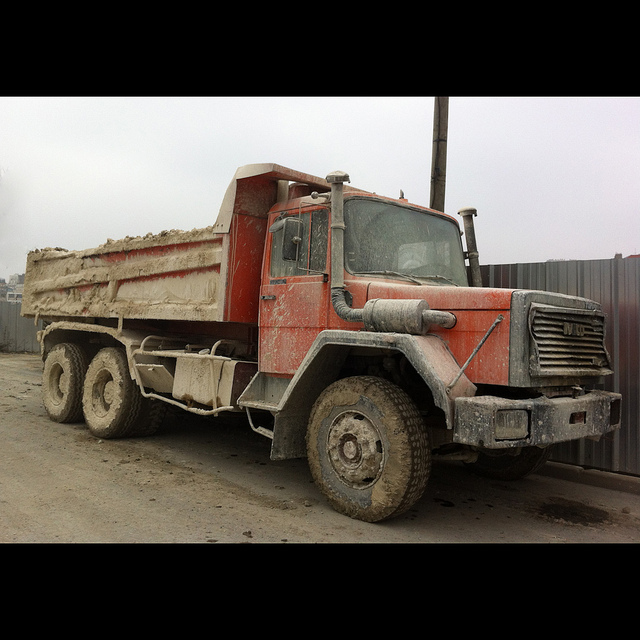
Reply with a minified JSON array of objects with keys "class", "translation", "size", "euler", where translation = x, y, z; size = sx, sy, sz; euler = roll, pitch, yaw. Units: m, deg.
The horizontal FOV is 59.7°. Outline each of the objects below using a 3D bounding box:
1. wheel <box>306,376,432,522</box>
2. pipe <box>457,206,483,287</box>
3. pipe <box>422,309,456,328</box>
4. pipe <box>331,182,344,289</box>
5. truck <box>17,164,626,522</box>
[{"class":"wheel","translation":[0.382,1.073,4.590],"size":[1.099,1.160,0.305],"euler":[3,3,42]},{"class":"pipe","translation":[1.699,-0.803,6.241],"size":[0.181,0.941,0.222],"euler":[-6,-1,10]},{"class":"pipe","translation":[0.937,0.000,4.395],"size":[0.189,0.144,0.283],"euler":[3,3,37]},{"class":"pipe","translation":[0.153,-0.712,4.782],"size":[0.109,0.885,0.154],"euler":[1,2,1]},{"class":"truck","translation":[-0.599,0.246,6.551],"size":[3.243,3.211,6.711],"euler":[3,-4,-39]}]
